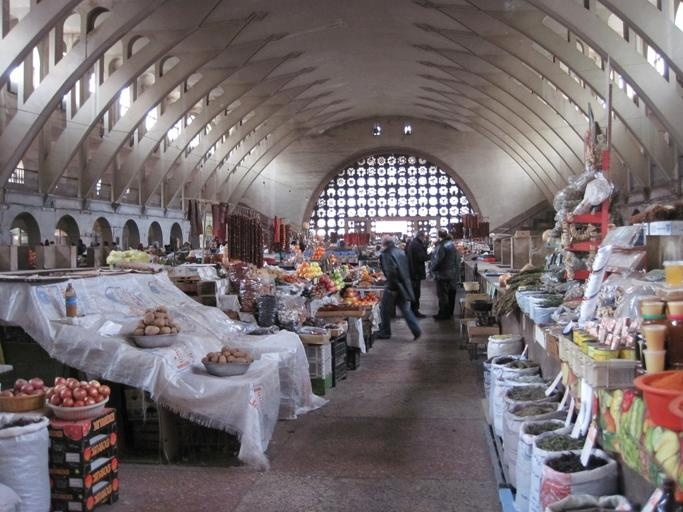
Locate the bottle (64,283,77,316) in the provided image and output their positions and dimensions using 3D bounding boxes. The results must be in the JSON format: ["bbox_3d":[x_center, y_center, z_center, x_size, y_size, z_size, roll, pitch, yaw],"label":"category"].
[{"bbox_3d":[-2.274,0.369,4.471,0.096,0.269,0.254,0,-1,-28],"label":"bottle"}]

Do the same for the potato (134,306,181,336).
[{"bbox_3d":[-1.561,0.560,4.569,0.345,0.222,0.346,0,-1,10],"label":"potato"}]

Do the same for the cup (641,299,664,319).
[{"bbox_3d":[1.315,0.225,2.248,0.070,0.070,0.075,0,-2,0],"label":"cup"}]

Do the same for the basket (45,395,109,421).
[{"bbox_3d":[-1.783,1.051,3.576,0.188,0.083,0.198,-6,-4,17],"label":"basket"}]

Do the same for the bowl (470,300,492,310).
[{"bbox_3d":[1.805,0.642,6.753,0.369,0.128,0.168,0,-1,-29],"label":"bowl"}]

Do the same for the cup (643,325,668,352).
[{"bbox_3d":[1.260,0.328,2.137,0.089,0.105,0.094,-2,1,0],"label":"cup"}]

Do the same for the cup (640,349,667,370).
[{"bbox_3d":[1.262,0.424,2.139,0.078,0.090,0.080,-1,0,0],"label":"cup"}]

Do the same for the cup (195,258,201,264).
[{"bbox_3d":[-2.196,0.083,8.240,0.101,0.074,0.113,-3,1,3],"label":"cup"}]
